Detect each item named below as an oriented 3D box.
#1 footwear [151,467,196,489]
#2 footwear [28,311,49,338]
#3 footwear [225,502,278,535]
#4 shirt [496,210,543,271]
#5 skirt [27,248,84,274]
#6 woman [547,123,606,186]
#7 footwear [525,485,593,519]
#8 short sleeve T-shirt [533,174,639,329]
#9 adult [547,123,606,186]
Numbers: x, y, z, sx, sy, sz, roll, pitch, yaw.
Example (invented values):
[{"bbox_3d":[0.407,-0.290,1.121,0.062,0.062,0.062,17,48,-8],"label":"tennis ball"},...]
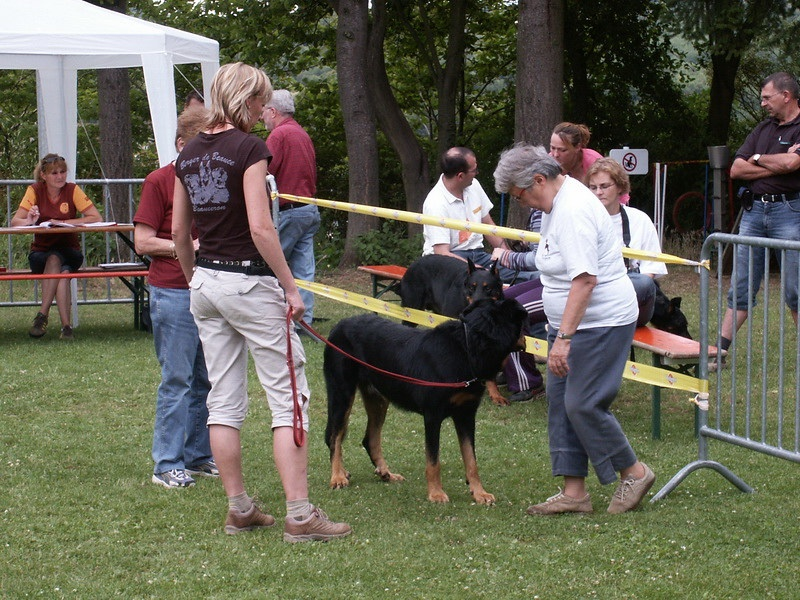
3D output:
[{"bbox_3d":[-1.847,1.458,9.760,0.343,0.136,0.137,-1,-2,14],"label":"footwear"},{"bbox_3d":[-4.230,0.303,14.027,0.144,0.156,0.391,11,12,-16],"label":"footwear"},{"bbox_3d":[-1.144,1.657,9.064,0.431,0.171,0.162,1,5,-40],"label":"footwear"},{"bbox_3d":[1.189,-0.578,11.528,0.481,0.568,0.218,18,-3,-13],"label":"shirt"},{"bbox_3d":[-3.980,-0.445,13.831,0.359,0.158,0.430,14,-5,-23],"label":"skirt"},{"bbox_3d":[1.722,-1.311,11.643,0.624,0.740,0.513,-4,12,-10],"label":"woman"},{"bbox_3d":[1.238,1.604,9.349,0.537,0.168,0.181,1,-4,0],"label":"footwear"},{"bbox_3d":[1.450,-0.384,9.312,0.881,1.274,1.374,-5,5,-9],"label":"short sleeve T-shirt"},{"bbox_3d":[1.728,-1.309,11.654,0.669,0.732,0.505,-4,12,-14],"label":"adult"}]
